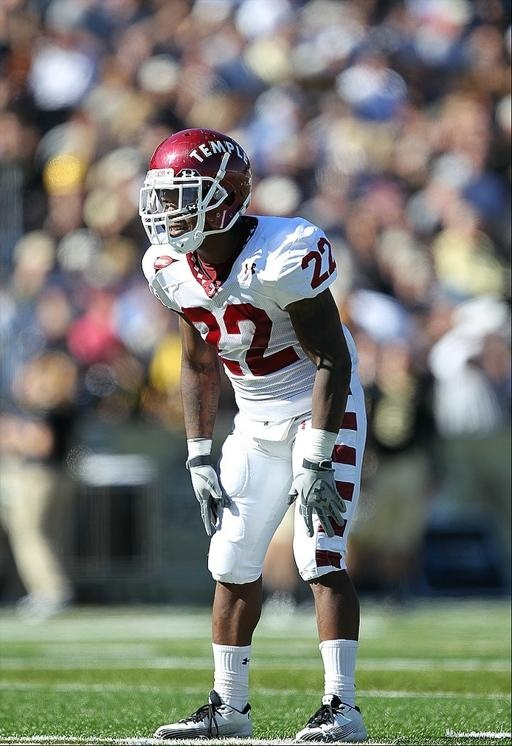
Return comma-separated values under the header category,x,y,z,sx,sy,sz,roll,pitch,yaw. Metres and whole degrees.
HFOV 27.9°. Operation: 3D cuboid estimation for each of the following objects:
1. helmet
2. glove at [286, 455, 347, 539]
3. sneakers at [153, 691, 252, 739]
category,x,y,z,sx,sy,sz,roll,pitch,yaw
helmet,-0.145,-0.454,2.489,0.266,0.243,0.332,4,21,33
glove,0.145,0.280,2.287,0.153,0.154,0.073,-13,-8,39
sneakers,-0.113,0.806,2.451,0.257,0.110,0.091,2,-5,-1
